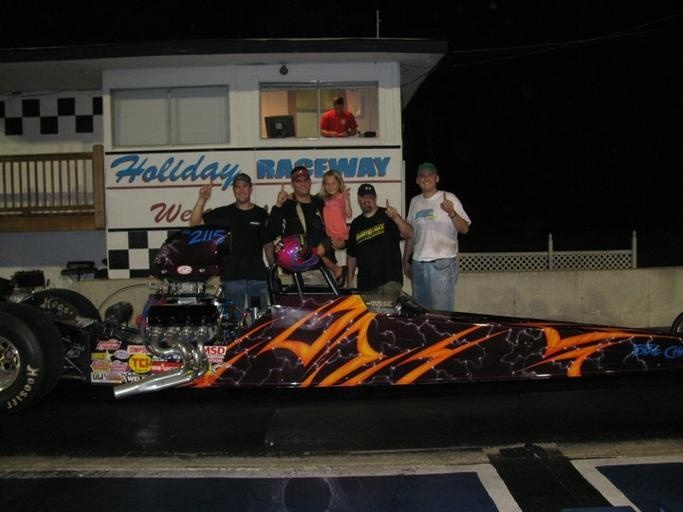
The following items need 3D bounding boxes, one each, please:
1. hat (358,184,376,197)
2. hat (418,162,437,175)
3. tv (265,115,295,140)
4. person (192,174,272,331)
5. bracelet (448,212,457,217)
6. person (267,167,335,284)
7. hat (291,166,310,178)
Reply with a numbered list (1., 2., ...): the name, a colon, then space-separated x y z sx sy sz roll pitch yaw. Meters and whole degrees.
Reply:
1. hat: 0.255 -0.699 8.768 0.166 0.139 0.244 -1 3 -7
2. hat: 0.899 -0.919 8.773 0.224 0.148 0.237 1 0 23
3. tv: -0.775 -1.624 10.571 0.278 0.261 0.107 0 6 1
4. person: -1.119 0.114 9.150 0.893 2.113 0.455 -1 20 -4
5. bracelet: 1.120 -0.429 8.480 0.059 0.054 0.125 0 3 23
6. person: -0.379 -0.347 8.877 0.744 1.284 0.686 -5 4 -18
7. hat: -0.441 -0.905 8.906 0.173 0.120 0.188 -1 3 -6
